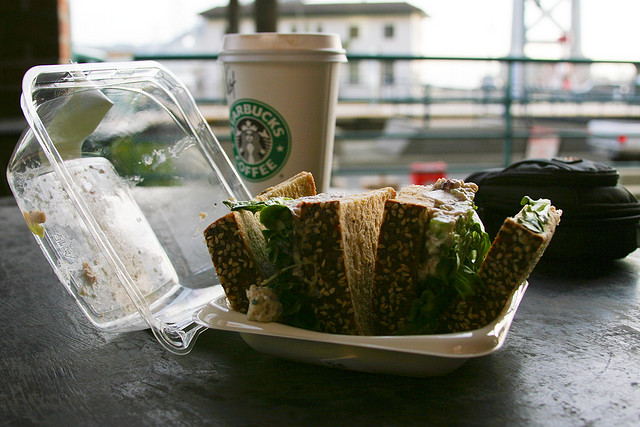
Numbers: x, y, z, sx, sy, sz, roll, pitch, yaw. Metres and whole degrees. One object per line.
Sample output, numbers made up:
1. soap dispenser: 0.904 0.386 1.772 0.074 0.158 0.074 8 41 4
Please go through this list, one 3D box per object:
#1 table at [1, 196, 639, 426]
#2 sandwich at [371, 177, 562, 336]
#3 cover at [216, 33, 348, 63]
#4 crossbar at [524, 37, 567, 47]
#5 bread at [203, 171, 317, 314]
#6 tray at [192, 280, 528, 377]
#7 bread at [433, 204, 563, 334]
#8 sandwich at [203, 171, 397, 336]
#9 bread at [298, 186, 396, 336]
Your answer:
1. table: 0.076 0.198 1.318 0.873 0.454 0.583 -1 -6 30
2. sandwich: 0.278 0.079 1.177 0.358 0.305 0.114 3 5 -27
3. cover: -0.113 -0.492 1.741 0.376 0.088 0.122 -4 20 -10
4. crossbar: 1.026 -0.788 2.690 0.224 0.044 0.026 -5 20 -13
5. bread: -0.152 0.066 1.258 0.081 0.253 0.293 -3 15 41
6. tray: 0.072 0.235 1.231 0.663 0.148 0.207 3 20 11
7. bread: 0.349 0.096 1.222 0.071 0.244 0.244 38 32 14
8. sandwich: -0.046 0.051 1.280 0.353 0.243 0.338 -2 12 -10
9. bread: 0.149 0.086 1.181 0.083 0.289 0.267 4 14 35
